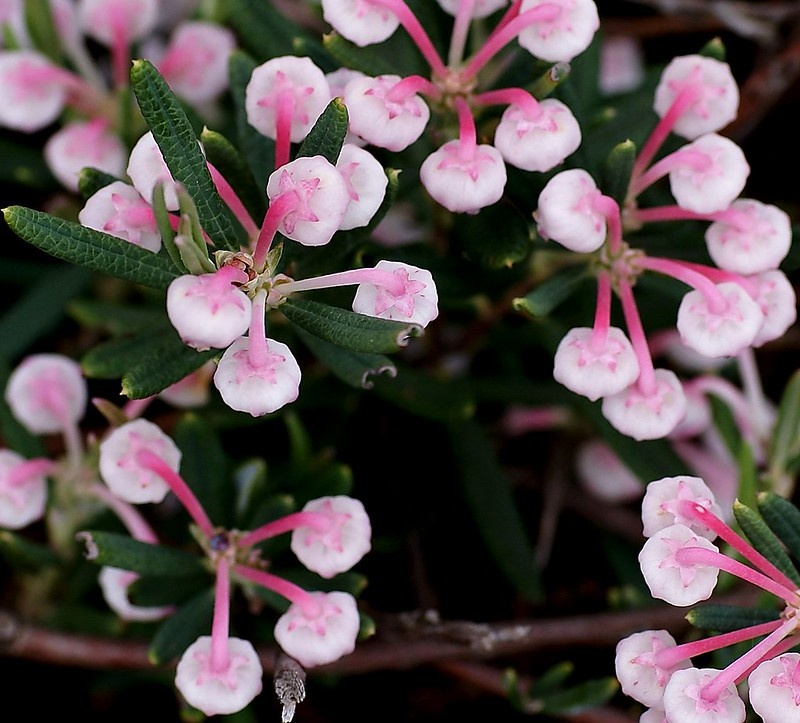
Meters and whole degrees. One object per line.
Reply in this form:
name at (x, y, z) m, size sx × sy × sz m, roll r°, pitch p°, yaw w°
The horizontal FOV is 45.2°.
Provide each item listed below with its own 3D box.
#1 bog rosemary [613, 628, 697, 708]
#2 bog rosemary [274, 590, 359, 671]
bog rosemary at (0.241, 0.286, 0.910) m, size 0.076 × 0.022 × 0.076 m, roll -27°, pitch 50°, yaw 20°
bog rosemary at (-0.079, 0.256, 0.930) m, size 0.085 × 0.033 × 0.092 m, roll -19°, pitch 35°, yaw 2°
